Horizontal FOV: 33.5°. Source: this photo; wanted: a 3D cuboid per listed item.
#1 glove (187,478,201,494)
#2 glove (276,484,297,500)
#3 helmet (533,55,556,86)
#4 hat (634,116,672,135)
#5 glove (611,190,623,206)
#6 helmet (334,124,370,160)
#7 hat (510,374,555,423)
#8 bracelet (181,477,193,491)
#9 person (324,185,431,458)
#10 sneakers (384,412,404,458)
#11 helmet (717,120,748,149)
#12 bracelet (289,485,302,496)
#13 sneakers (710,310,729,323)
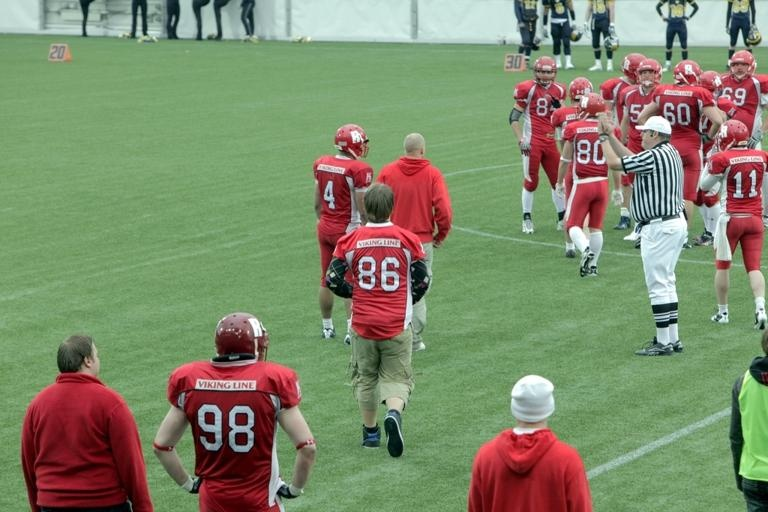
[{"bbox_3d":[-2.010,2.487,13.712,0.130,0.178,0.079,-1,9,16],"label":"glove"},{"bbox_3d":[-1.035,2.557,13.682,0.144,0.092,0.190,24,-2,39],"label":"glove"},{"bbox_3d":[2.708,-3.116,21.463,0.380,0.432,0.475,-1,14,-2],"label":"helmet"},{"bbox_3d":[3.609,-1.754,17.185,0.465,0.202,0.304,4,8,13],"label":"hat"},{"bbox_3d":[3.726,-0.930,20.505,0.199,0.242,0.066,-2,10,4],"label":"glove"},{"bbox_3d":[-0.447,-1.585,17.485,0.368,0.400,0.490,27,21,36],"label":"helmet"},{"bbox_3d":[1.532,1.476,13.297,0.431,0.359,0.458,3,25,7],"label":"hat"},{"bbox_3d":[-2.116,2.456,13.752,0.071,0.093,0.231,9,20,-3],"label":"bracelet"},{"bbox_3d":[-0.030,0.768,15.400,1.174,3.231,0.571,-3,7,-1],"label":"person"},{"bbox_3d":[0.154,2.127,15.324,0.201,0.561,0.237,-8,16,9],"label":"sneakers"},{"bbox_3d":[4.905,-1.730,17.978,0.318,0.360,0.434,-5,20,-9],"label":"helmet"},{"bbox_3d":[-0.937,2.527,13.700,0.099,0.128,0.127,-18,39,-23],"label":"bracelet"},{"bbox_3d":[4.756,0.876,18.159,0.121,0.130,0.303,1,4,-2],"label":"sneakers"}]
